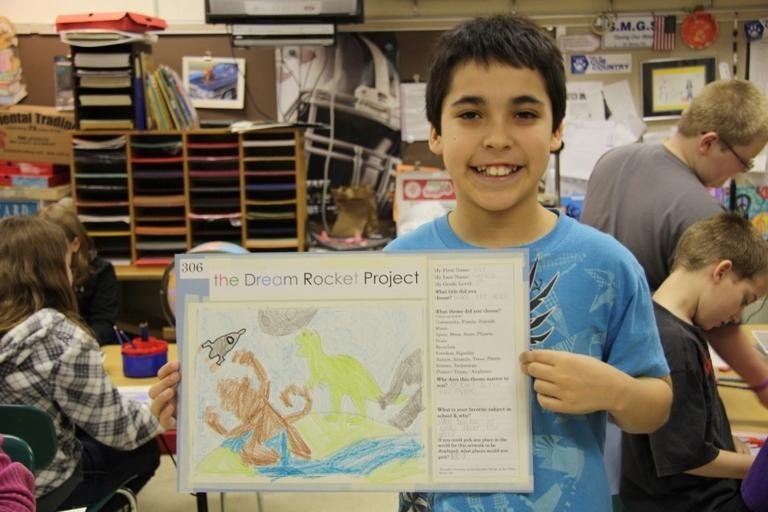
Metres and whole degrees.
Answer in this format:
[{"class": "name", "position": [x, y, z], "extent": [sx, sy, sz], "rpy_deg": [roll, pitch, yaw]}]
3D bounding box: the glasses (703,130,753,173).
[{"class": "glasses", "position": [1.524, -0.430, 3.645], "extent": [0.051, 0.183, 0.173], "rpy_deg": [-38, -12, 23]}]

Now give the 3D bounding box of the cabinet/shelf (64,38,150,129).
[{"class": "cabinet/shelf", "position": [-1.609, -1.014, 4.858], "extent": [0.409, 0.639, 0.558], "rpy_deg": [-1, 4, -6]}]

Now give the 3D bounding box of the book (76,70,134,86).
[{"class": "book", "position": [-1.642, -1.053, 4.833], "extent": [0.319, 0.101, 0.039], "rpy_deg": [-2, 10, 1]}]

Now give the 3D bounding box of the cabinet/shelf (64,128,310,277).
[{"class": "cabinet/shelf", "position": [-1.215, -0.355, 5.116], "extent": [1.295, 0.827, 0.391], "rpy_deg": [0, -11, -18]}]

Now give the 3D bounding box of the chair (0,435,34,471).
[{"class": "chair", "position": [-1.327, 0.722, 2.992], "extent": [0.114, 0.162, 0.116], "rpy_deg": [4, 2, -10]}]
